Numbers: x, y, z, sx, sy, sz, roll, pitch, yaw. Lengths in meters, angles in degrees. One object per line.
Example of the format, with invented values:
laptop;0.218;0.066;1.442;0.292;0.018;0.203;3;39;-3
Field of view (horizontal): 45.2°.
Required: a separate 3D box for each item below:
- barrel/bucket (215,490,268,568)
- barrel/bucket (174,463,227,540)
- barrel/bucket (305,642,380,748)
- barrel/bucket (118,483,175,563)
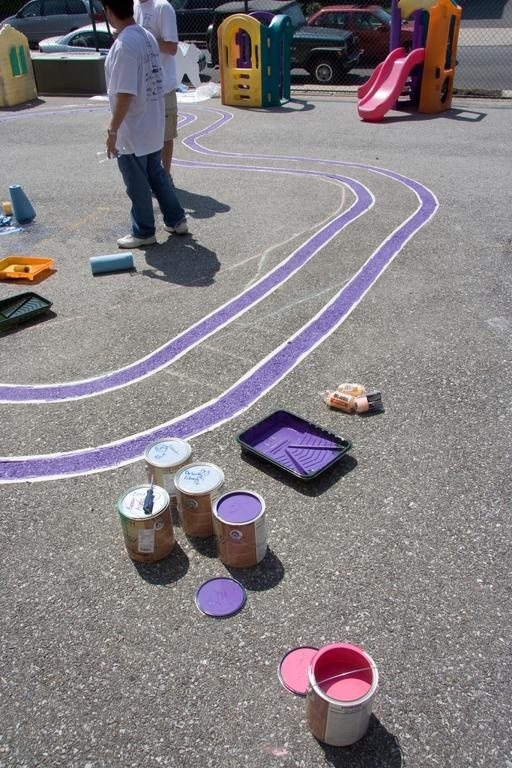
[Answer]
barrel/bucket;-0.063;0.607;2.611;0.221;0.248;0.230;-2;31;1
barrel/bucket;-0.249;0.530;2.848;0.280;0.306;0.305;0;30;0
barrel/bucket;0.259;0.959;1.909;0.200;0.295;0.177;-8;36;-12
barrel/bucket;-0.447;0.589;2.716;0.282;0.311;0.281;0;30;0
